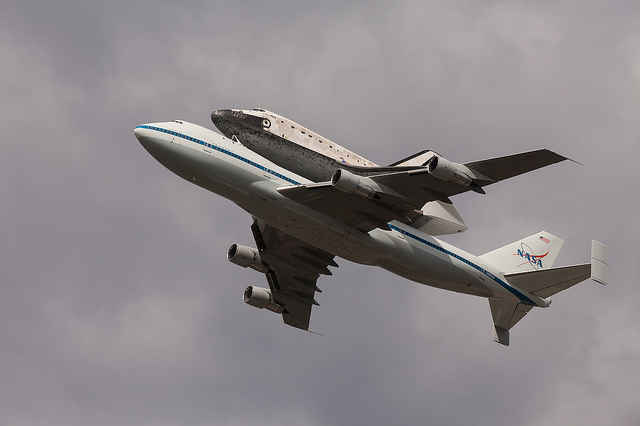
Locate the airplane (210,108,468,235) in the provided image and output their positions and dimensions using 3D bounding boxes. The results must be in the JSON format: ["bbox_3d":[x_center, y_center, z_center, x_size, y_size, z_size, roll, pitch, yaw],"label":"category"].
[{"bbox_3d":[0.912,-2.933,62.710,10.595,2.850,8.537,24,-29,-8],"label":"airplane"}]

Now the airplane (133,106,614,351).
[{"bbox_3d":[3.624,0.623,63.245,20.430,5.359,17.160,21,-30,-16],"label":"airplane"}]
